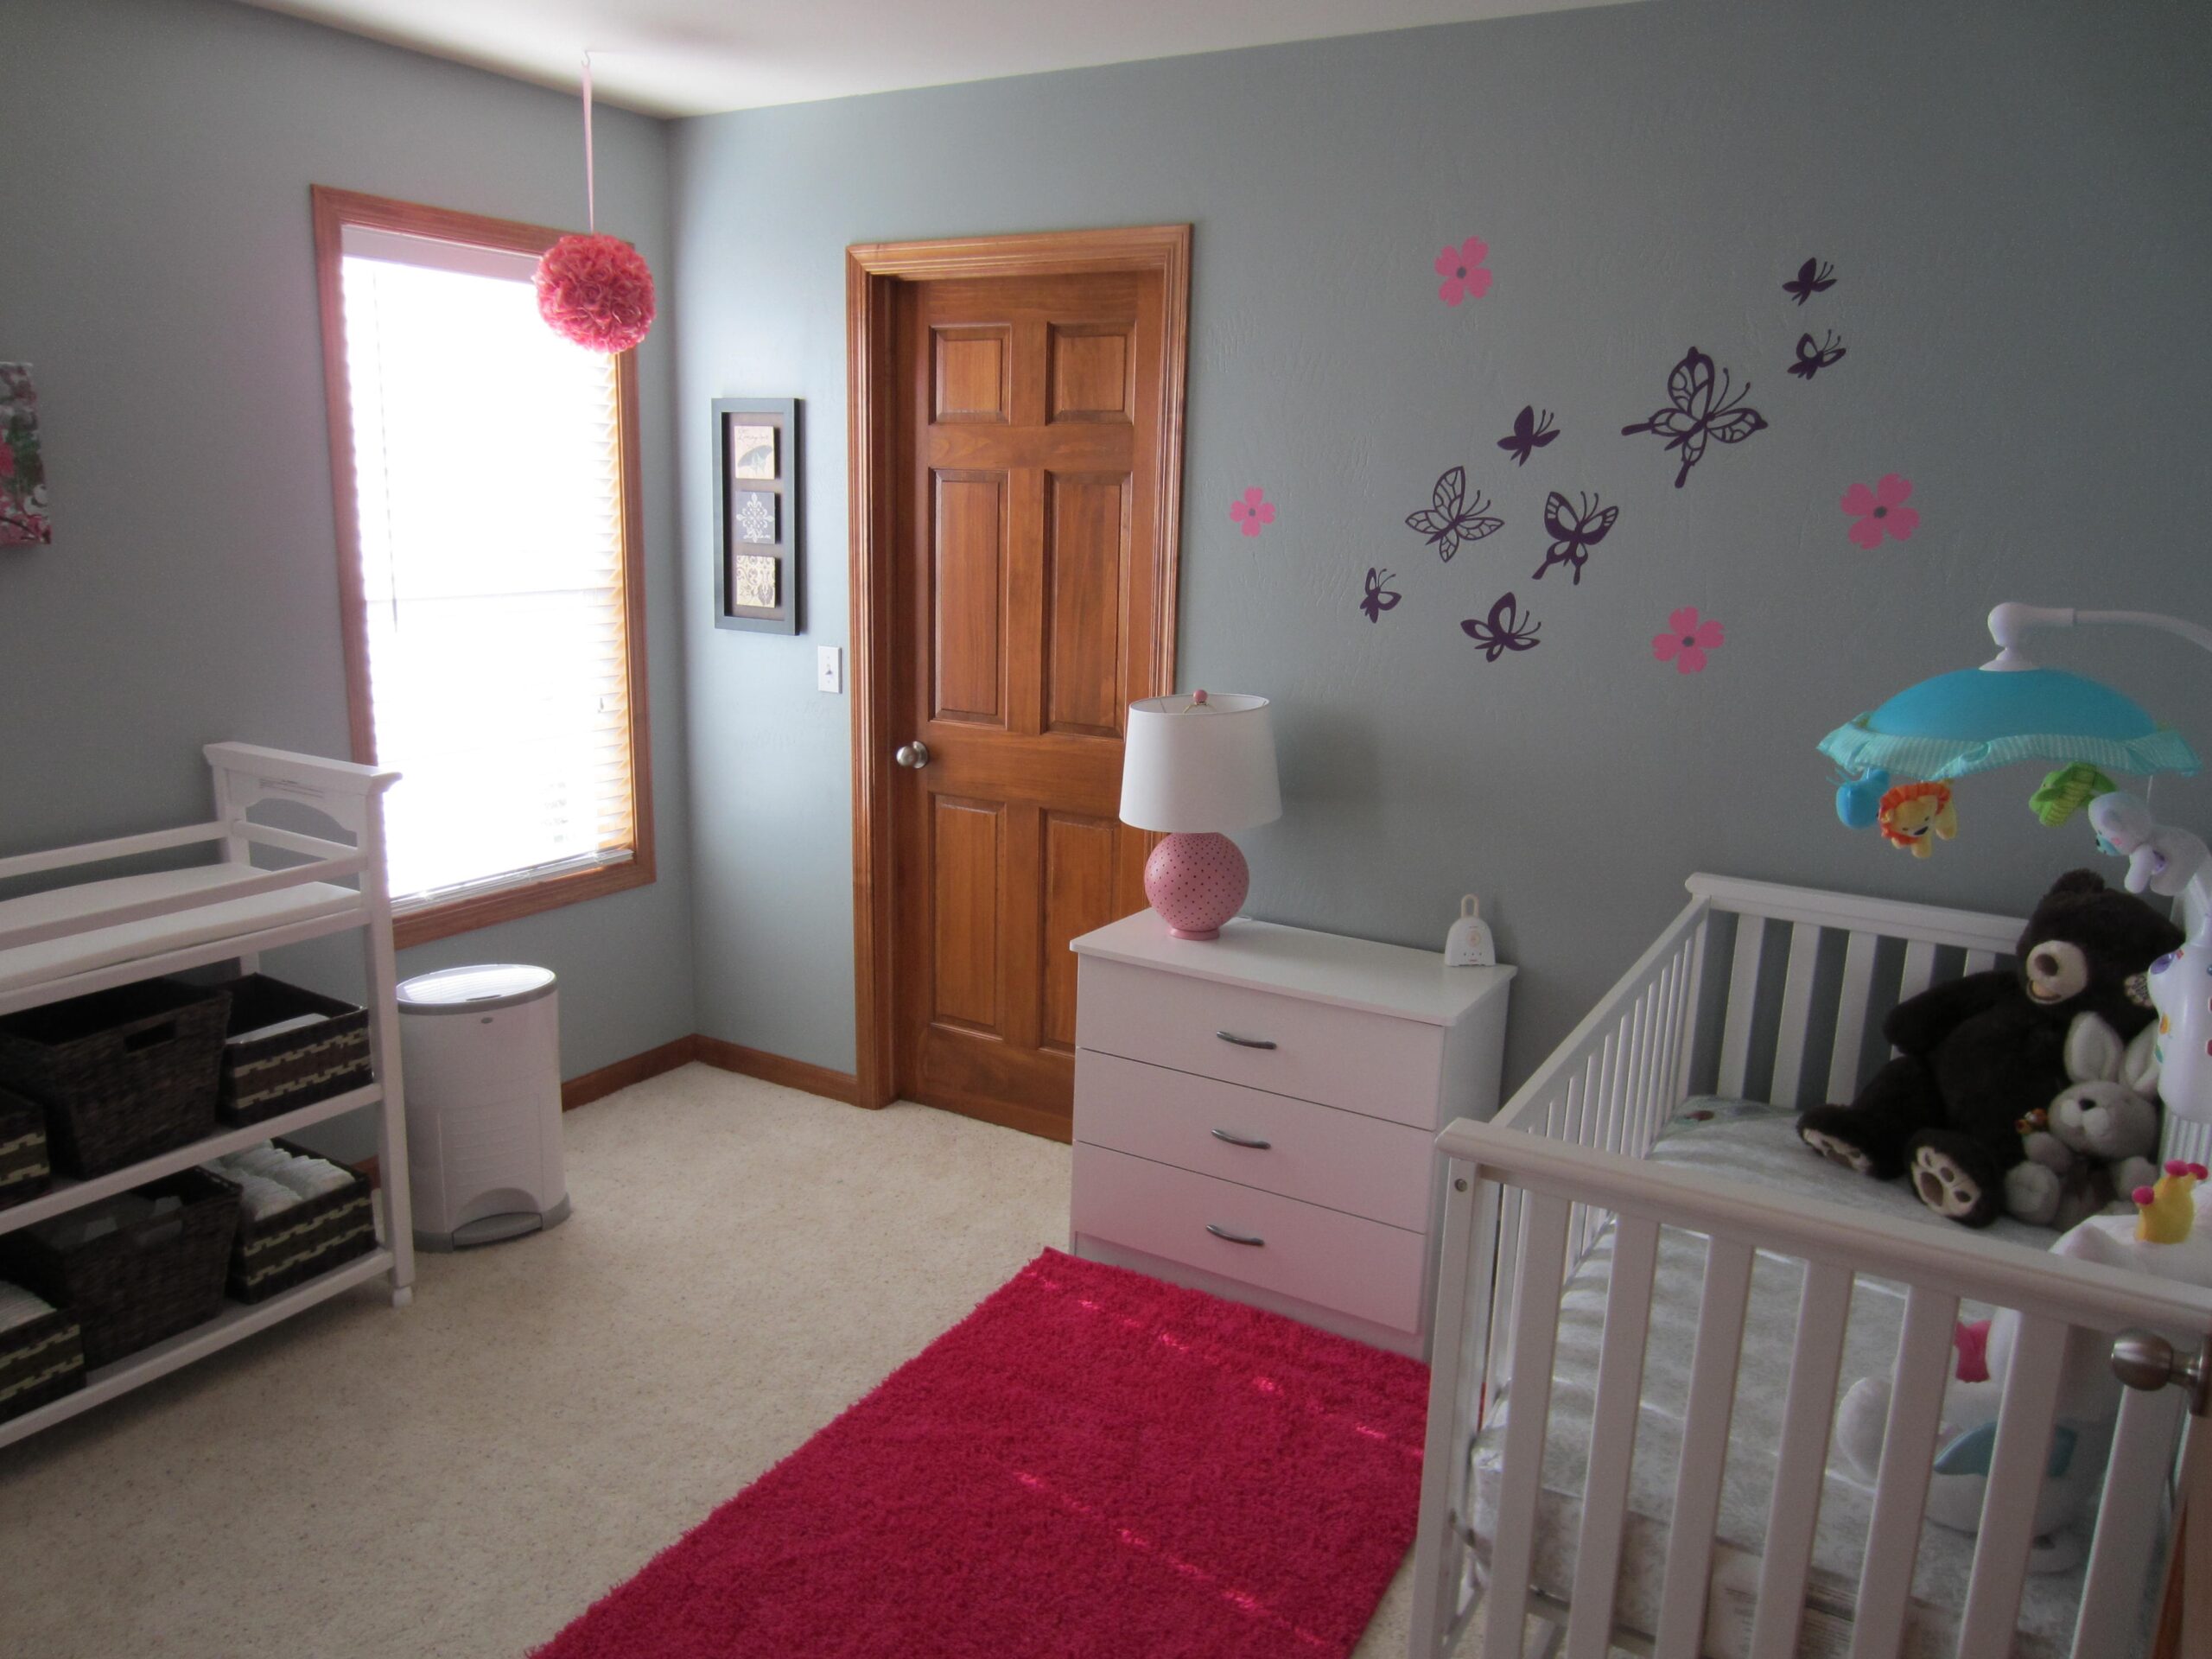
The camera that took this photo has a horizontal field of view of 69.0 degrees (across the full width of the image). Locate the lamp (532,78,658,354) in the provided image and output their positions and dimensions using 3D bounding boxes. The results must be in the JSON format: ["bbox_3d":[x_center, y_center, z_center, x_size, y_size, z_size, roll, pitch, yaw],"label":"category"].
[{"bbox_3d":[-1.269,-1.516,3.959,0.304,0.664,0.768,-4,13,-20],"label":"lamp"}]

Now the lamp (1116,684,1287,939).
[{"bbox_3d":[0.213,-0.028,3.762,0.483,0.541,0.491,6,12,29],"label":"lamp"}]

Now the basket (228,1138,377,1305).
[{"bbox_3d":[-1.720,0.808,3.363,0.262,0.187,0.265,7,8,38],"label":"basket"}]

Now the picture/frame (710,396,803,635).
[{"bbox_3d":[-0.957,-0.859,4.395,0.303,0.621,0.081,10,15,35],"label":"picture/frame"}]

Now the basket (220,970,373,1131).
[{"bbox_3d":[-1.771,0.471,3.387,0.265,0.172,0.268,8,13,33],"label":"basket"}]

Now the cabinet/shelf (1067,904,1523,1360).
[{"bbox_3d":[0.410,0.680,3.743,0.875,0.850,0.488,10,16,29],"label":"cabinet/shelf"}]
